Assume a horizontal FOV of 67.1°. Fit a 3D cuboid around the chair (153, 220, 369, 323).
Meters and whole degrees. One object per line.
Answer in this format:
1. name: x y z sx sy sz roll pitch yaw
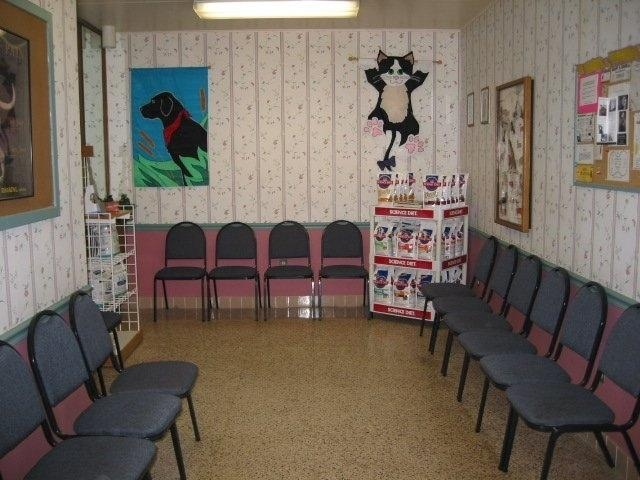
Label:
1. chair: -0.674 0.318 5.738 2.512 1.110 0.729 -2 7 1
